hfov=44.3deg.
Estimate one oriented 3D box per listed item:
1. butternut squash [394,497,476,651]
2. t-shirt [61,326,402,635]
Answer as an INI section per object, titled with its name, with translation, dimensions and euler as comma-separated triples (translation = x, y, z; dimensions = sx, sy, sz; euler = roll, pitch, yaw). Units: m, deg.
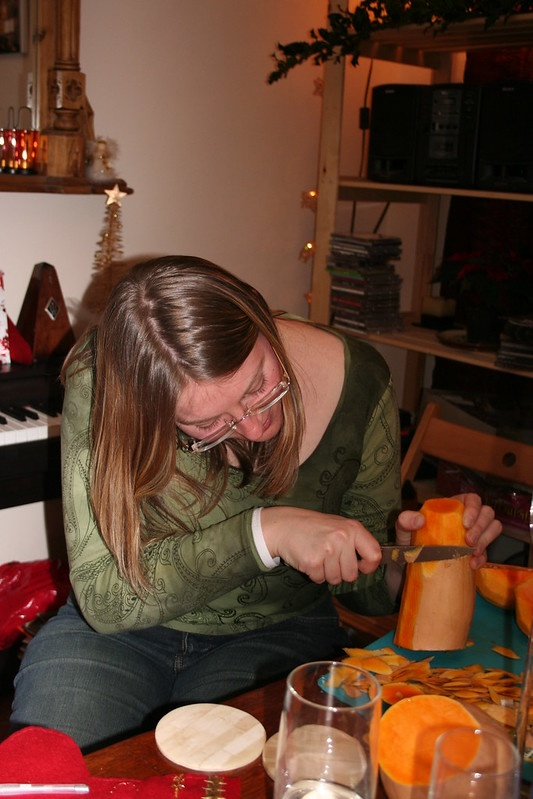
[butternut squash]
translation = 0.220, 0.219, 0.824
dimensions = 0.086, 0.162, 0.137
euler = 9, 17, 18
[t-shirt]
translation = -0.064, 0.128, 0.976
dimensions = 0.557, 0.467, 0.320
euler = -2, 2, -23
